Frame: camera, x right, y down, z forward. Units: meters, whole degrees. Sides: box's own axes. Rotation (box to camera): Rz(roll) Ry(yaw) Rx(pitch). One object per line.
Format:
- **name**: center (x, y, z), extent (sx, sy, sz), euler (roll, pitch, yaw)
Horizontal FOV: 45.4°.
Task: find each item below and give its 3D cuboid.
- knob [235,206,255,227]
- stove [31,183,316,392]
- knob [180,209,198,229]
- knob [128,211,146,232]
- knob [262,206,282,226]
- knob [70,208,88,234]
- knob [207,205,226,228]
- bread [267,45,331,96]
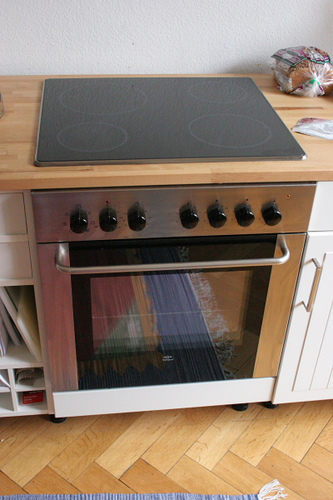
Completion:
- **knob**: center (0.164, -0.069, 0.829), extent (0.043, 0.039, 0.041), euler (1, 30, 3)
- **stove**: center (0.015, 0.010, 1.157), extent (0.665, 0.650, 0.511), euler (-2, 40, -4)
- **knob**: center (0.044, -0.066, 0.815), extent (0.035, 0.034, 0.032), euler (6, 17, -5)
- **knob**: center (-0.058, -0.056, 0.779), extent (0.035, 0.035, 0.038), euler (3, 14, -5)
- **knob**: center (0.225, -0.070, 0.843), extent (0.044, 0.045, 0.038), euler (-1, 30, 0)
- **knob**: center (-0.169, -0.056, 0.767), extent (0.028, 0.047, 0.048), euler (1, 19, -3)
- **knob**: center (0.101, -0.070, 0.807), extent (0.036, 0.044, 0.042), euler (-1, 39, 3)
- **bread**: center (0.400, -0.554, 1.194), extent (0.136, 0.084, 0.173), euler (-2, 37, -2)
